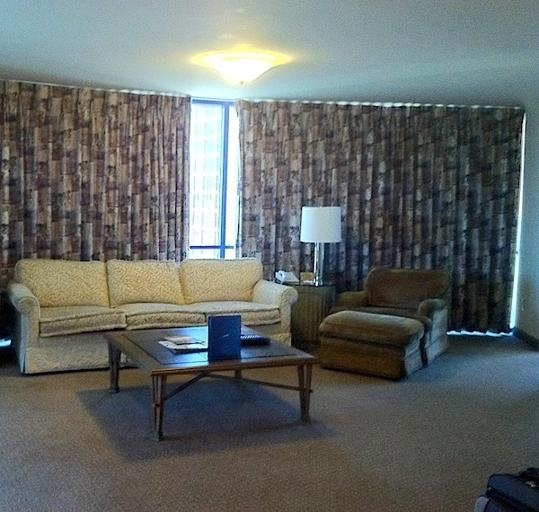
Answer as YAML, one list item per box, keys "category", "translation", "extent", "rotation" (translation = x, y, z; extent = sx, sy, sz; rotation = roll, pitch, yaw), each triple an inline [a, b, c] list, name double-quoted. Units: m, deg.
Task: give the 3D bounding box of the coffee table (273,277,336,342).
- category: "coffee table"
  translation: [0.347, 0.647, 5.558]
  extent: [0.701, 0.627, 0.608]
  rotation: [2, 0, -4]

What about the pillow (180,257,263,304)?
- category: "pillow"
  translation: [-0.527, 0.242, 5.094]
  extent: [0.733, 0.468, 0.161]
  rotation: [-3, -12, -9]

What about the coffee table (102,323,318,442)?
- category: "coffee table"
  translation: [-0.444, 0.798, 3.402]
  extent: [1.192, 0.483, 1.345]
  rotation: [1, 3, -28]

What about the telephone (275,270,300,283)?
- category: "telephone"
  translation: [0.191, 0.250, 5.433]
  extent: [0.180, 0.067, 0.170]
  rotation: [1, 4, -26]

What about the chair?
- category: "chair"
  translation: [1.286, 0.608, 5.121]
  extent: [1.138, 0.791, 1.150]
  rotation: [-13, 15, -36]

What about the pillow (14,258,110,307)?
- category: "pillow"
  translation: [-1.911, 0.255, 4.493]
  extent: [0.750, 0.405, 0.282]
  rotation: [1, 3, -26]

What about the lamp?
- category: "lamp"
  translation: [0.547, -0.117, 5.435]
  extent: [0.436, 0.867, 0.539]
  rotation: [2, 3, -15]

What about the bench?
- category: "bench"
  translation: [0.967, 0.780, 4.383]
  extent: [0.870, 0.458, 0.644]
  rotation: [4, 5, 39]
